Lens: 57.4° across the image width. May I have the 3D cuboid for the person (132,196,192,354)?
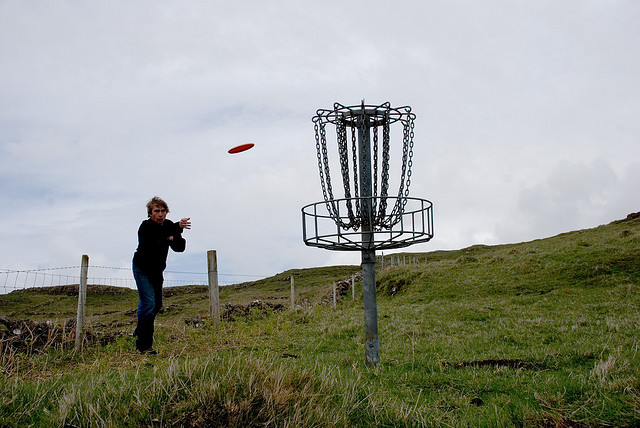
[{"bbox_3d":[-3.667,1.307,13.084,0.982,3.396,0.580,1,-11,-19],"label":"person"}]

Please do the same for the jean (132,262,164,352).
[{"bbox_3d":[-3.860,2.041,13.031,0.627,1.863,0.658,1,-11,-18],"label":"jean"}]
